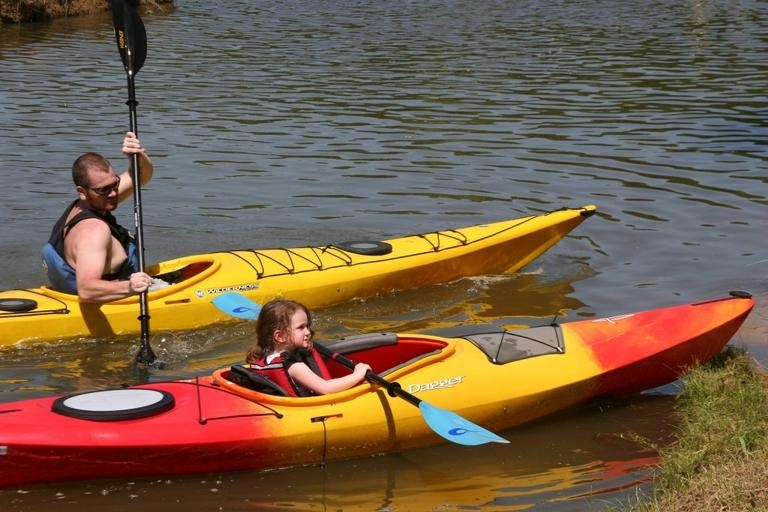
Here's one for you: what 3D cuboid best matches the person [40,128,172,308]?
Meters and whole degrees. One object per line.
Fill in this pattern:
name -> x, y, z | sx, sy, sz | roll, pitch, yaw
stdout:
person -> -2.623, -0.229, 7.426 | 0.928, 1.402, 0.859 | -19, 27, -19
